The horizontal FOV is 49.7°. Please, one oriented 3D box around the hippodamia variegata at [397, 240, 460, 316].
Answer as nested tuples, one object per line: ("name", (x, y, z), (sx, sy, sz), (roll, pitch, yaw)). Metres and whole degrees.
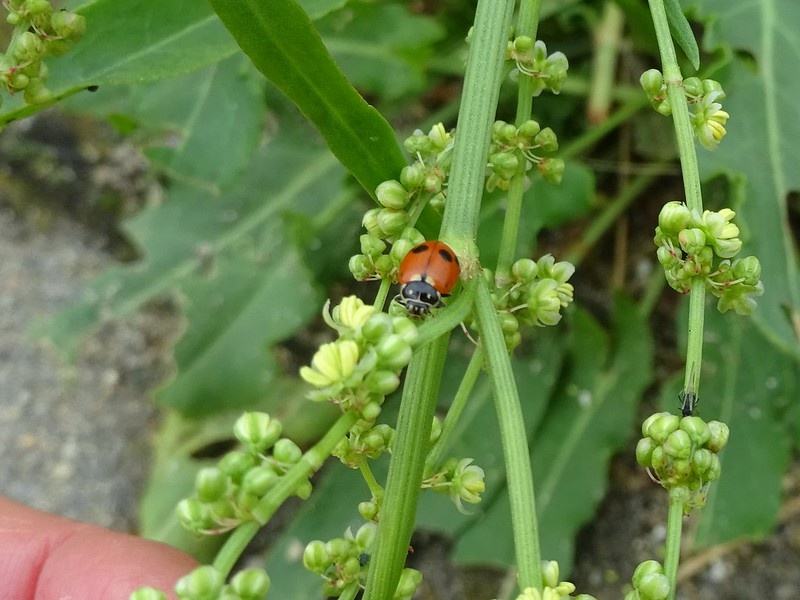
("hippodamia variegata", (0.036, -0.033, 1.139), (0.085, 0.041, 0.124), (10, 48, 9))
